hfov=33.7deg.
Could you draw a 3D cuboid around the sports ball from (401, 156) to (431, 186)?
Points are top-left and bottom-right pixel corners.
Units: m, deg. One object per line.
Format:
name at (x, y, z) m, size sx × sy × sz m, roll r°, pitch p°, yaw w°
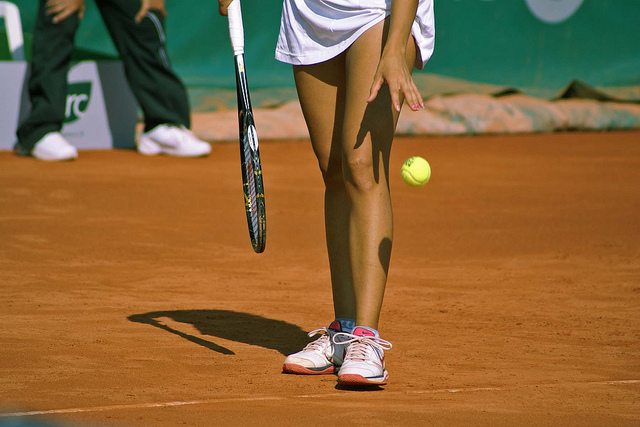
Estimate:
sports ball at (0.864, -0.371, 9.565) m, size 0.248 × 0.239 × 0.242 m, roll 16°, pitch 8°, yaw -2°
